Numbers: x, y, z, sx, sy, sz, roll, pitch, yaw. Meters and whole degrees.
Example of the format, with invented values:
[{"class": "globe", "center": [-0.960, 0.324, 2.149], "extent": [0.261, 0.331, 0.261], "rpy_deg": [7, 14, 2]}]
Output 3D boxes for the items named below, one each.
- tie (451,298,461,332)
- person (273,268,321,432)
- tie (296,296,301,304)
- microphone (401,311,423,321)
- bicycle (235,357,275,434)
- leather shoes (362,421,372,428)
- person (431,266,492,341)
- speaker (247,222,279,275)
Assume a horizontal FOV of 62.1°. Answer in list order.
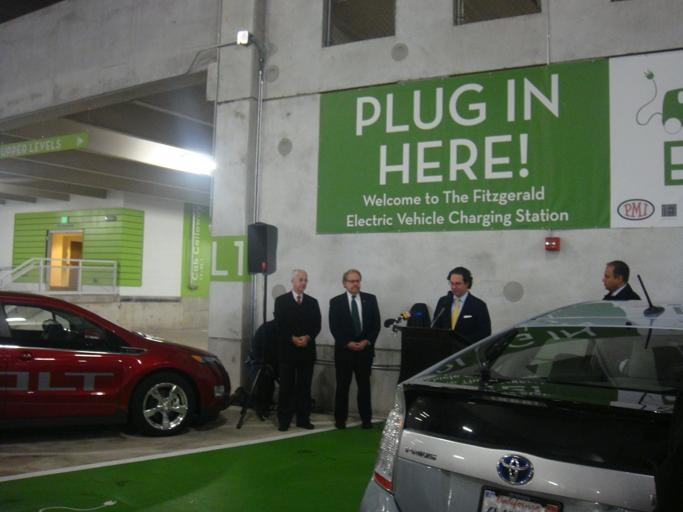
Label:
[{"class": "tie", "center": [1.311, 0.668, 6.592], "extent": [0.088, 0.488, 0.061], "rpy_deg": [6, -26, 11]}, {"class": "person", "center": [-0.572, 1.158, 7.097], "extent": [0.587, 1.943, 0.481], "rpy_deg": [2, 2, -11]}, {"class": "tie", "center": [-0.565, 0.562, 7.205], "extent": [0.064, 0.098, 0.023], "rpy_deg": [-2, -2, -12]}, {"class": "microphone", "center": [0.776, 0.663, 6.245], "extent": [0.244, 0.102, 0.179], "rpy_deg": [0, -5, -16]}, {"class": "bicycle", "center": [-1.126, 1.792, 7.447], "extent": [0.428, 0.795, 1.133], "rpy_deg": [2, 2, -6]}, {"class": "leather shoes", "center": [0.306, 2.106, 7.061], "extent": [0.059, 0.127, 0.123], "rpy_deg": [2, 0, 34]}, {"class": "person", "center": [1.422, 0.569, 6.650], "extent": [0.629, 1.201, 0.609], "rpy_deg": [-3, -12, 40]}, {"class": "speaker", "center": [-1.081, -0.097, 7.681], "extent": [0.419, 0.665, 0.433], "rpy_deg": [-1, -2, -8]}]
